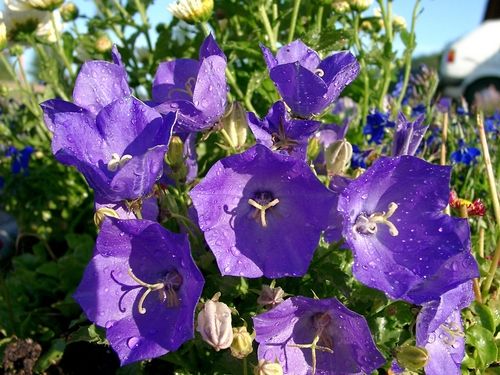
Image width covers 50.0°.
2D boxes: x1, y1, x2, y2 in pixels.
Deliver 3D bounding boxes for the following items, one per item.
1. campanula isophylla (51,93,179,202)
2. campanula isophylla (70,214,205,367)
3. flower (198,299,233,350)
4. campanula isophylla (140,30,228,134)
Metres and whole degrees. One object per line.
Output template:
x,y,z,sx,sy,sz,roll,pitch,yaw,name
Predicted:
-0.566,-0.176,2.256,0.398,0.282,0.496,-2,35,8,campanula isophylla
-0.443,0.401,2.170,0.522,0.525,0.316,19,26,-2,campanula isophylla
-0.134,0.545,2.218,0.192,0.134,0.082,62,10,11,flower
-0.246,-0.437,2.385,0.342,0.432,0.197,2,-19,45,campanula isophylla
